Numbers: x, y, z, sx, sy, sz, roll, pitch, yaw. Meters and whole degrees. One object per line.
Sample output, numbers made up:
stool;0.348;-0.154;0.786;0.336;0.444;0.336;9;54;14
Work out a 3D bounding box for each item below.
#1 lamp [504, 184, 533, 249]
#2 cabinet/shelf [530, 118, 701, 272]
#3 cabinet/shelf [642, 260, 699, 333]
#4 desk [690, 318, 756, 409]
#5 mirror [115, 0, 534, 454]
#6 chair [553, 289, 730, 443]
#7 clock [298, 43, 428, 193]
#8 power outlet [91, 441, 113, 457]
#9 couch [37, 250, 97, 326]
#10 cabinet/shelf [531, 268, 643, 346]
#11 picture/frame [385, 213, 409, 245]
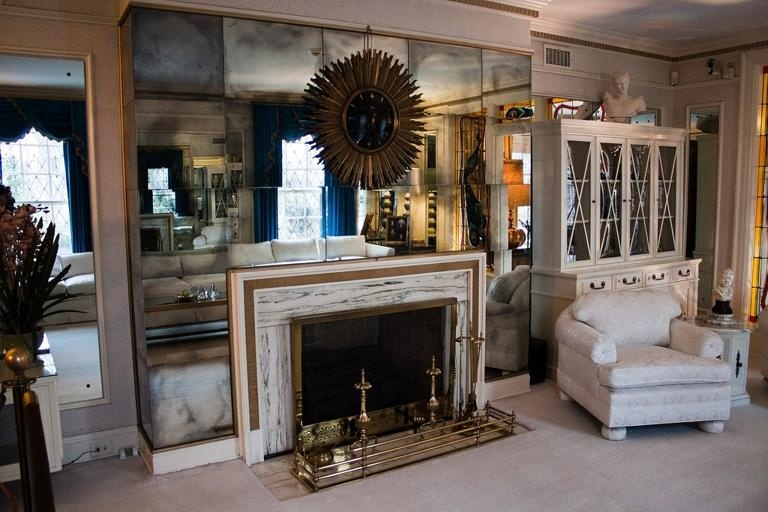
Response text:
lamp;1.319;-0.420;6.207;0.442;0.663;0.432;-4;-1;1
cabinet/shelf;2.308;-0.606;6.031;1.682;1.333;0.449;-4;9;-23
cabinet/shelf;3.055;0.397;6.422;0.660;0.683;0.280;-8;20;-4
desk;3.095;1.017;5.690;0.689;0.915;0.813;2;6;23
mirror;-0.583;-0.222;4.633;3.847;3.181;0.543;-4;6;-27
chair;2.295;0.905;5.256;1.253;0.976;1.138;-1;10;-2
clock;-0.210;-1.100;4.655;1.239;1.187;0.191;-5;8;-34
power outlet;-2.233;1.524;4.641;0.138;0.109;0.069;-1;8;-30
couch;-2.478;0.232;4.557;0.576;0.399;0.299;-6;20;-34
cabinet/shelf;1.934;0.610;6.265;0.531;0.883;0.951;8;5;38
picture/frame;0.097;-0.232;4.865;0.261;0.280;0.033;-3;6;-32
